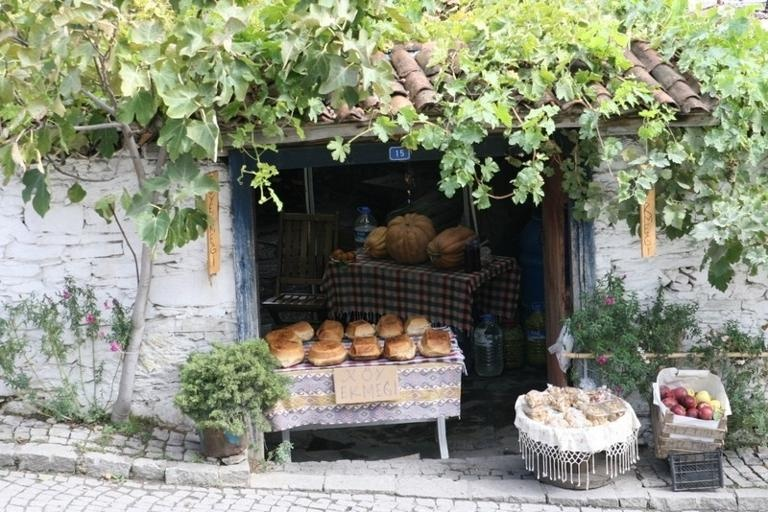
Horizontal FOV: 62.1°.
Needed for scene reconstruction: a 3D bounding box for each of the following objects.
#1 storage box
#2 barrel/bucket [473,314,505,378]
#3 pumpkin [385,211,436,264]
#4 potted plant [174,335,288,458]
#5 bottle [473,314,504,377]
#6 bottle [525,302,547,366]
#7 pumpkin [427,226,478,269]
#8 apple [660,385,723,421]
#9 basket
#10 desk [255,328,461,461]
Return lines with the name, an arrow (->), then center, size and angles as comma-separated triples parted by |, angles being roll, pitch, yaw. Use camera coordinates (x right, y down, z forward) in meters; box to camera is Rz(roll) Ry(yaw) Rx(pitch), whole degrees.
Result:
storage box -> 2.914, 1.492, 6.127 | 0.600, 0.480, 0.789 | 5, 29, 17
barrel/bucket -> 1.347, 1.209, 8.542 | 0.462, 0.738, 0.430 | 1, -1, 0
pumpkin -> 0.348, -0.231, 8.697 | 0.534, 0.700, 0.507 | -1, 1, -25
potted plant -> -1.286, 1.279, 6.056 | 1.059, 0.916, 0.925 | -3, 18, -3
bottle -> 1.361, 1.155, 8.361 | 0.394, 0.814, 0.358 | -1, 15, 6
bottle -> 2.012, 1.127, 8.524 | 0.234, 0.699, 0.242 | -3, 15, 1
pumpkin -> 0.953, -0.105, 8.528 | 0.761, 0.539, 0.539 | -27, 25, -38
apple -> 2.870, 1.390, 5.976 | 0.478, 0.282, 0.219 | 0, -21, 1
basket -> 2.868, 1.607, 6.088 | 0.753, 1.072, 0.639 | -1, -2, 0
desk -> -0.286, 1.356, 6.331 | 1.591, 0.706, 1.049 | -1, 1, -3
